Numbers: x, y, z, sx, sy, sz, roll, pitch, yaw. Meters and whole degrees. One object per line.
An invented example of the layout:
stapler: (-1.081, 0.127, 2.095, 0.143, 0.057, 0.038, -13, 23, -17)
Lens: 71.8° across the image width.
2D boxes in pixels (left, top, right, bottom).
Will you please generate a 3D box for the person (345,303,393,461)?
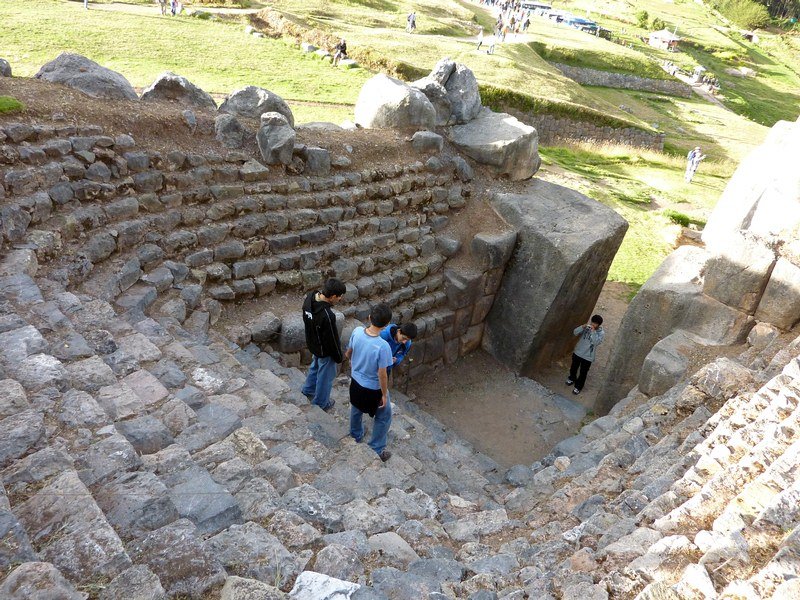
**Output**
person: (-0.290, 0.912, 5.606, 0.502, 1.791, 0.750, 3, 36, -6)

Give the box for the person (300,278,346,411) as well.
person: (-0.854, 0.643, 6.012, 0.430, 1.562, 0.662, -6, 38, -17)

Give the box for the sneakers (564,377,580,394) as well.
sneakers: (2.907, 1.444, 9.375, 0.103, 0.118, 0.291, -14, 19, -6)

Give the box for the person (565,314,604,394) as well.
person: (2.986, 0.833, 9.093, 0.470, 1.506, 0.614, 20, 38, 16)

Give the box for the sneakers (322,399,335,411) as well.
sneakers: (-0.777, 1.158, 6.227, 0.058, 0.119, 0.166, 23, 63, 19)
